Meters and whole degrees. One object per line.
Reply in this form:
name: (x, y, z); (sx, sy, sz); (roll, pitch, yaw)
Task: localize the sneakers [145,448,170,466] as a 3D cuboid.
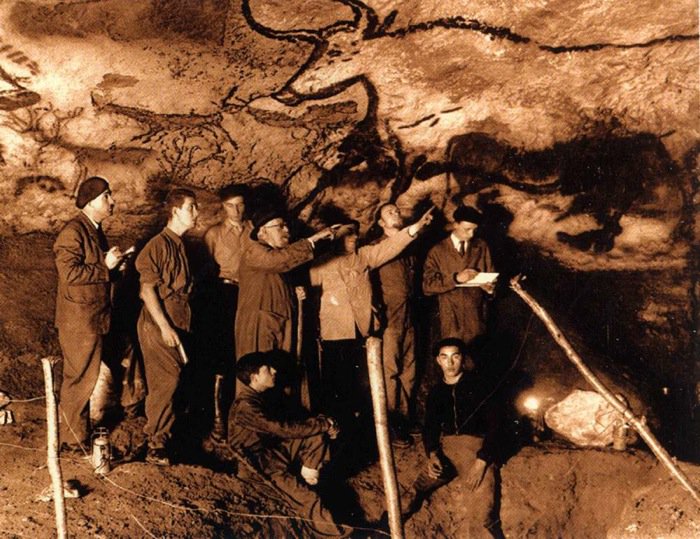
sneakers: (-1.806, 1.757, 6.633); (0.186, 0.073, 0.144); (7, -10, 46)

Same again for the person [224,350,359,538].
person: (-0.576, 1.666, 6.877); (1.140, 1.612, 0.597); (8, 21, 20)

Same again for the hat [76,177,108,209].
hat: (-2.440, -0.726, 6.727); (0.307, 0.194, 0.247); (-24, -9, 19)

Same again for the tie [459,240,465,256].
tie: (1.268, -0.237, 7.974); (0.042, 0.174, 0.037); (7, -8, -17)

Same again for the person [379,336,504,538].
person: (1.165, 1.801, 7.368); (0.964, 1.882, 0.956); (5, 20, 11)
